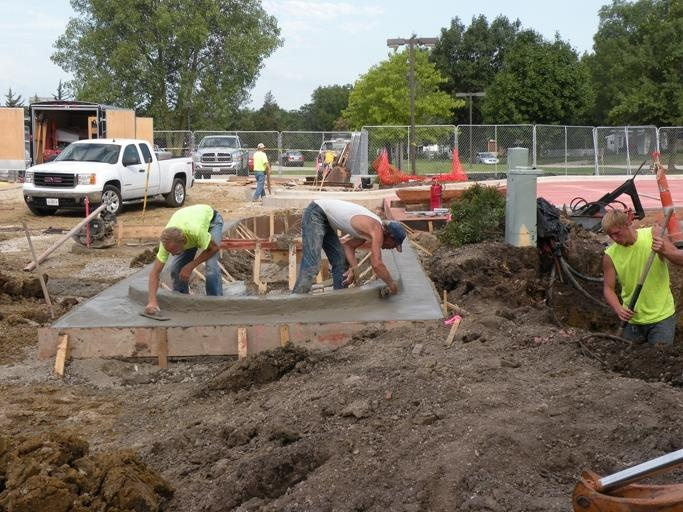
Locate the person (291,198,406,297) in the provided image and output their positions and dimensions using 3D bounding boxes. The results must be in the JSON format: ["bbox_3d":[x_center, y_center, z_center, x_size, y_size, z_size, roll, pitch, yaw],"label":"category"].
[{"bbox_3d":[0.064,-0.105,7.781,0.949,1.148,1.284,-7,10,-44],"label":"person"}]

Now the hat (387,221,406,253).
[{"bbox_3d":[0.673,-0.249,7.799,0.206,0.376,0.723,0,7,7],"label":"hat"}]

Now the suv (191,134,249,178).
[{"bbox_3d":[-5.615,-4.634,29.814,2.472,2.018,1.521,-2,7,-13],"label":"suv"}]

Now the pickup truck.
[{"bbox_3d":[-5.954,-2.032,17.221,2.227,1.759,4.762,2,5,22],"label":"pickup truck"}]

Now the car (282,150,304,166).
[{"bbox_3d":[-2.912,-5.798,38.168,0.930,0.808,2.119,-1,13,-6],"label":"car"}]

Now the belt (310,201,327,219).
[{"bbox_3d":[-0.294,-0.585,8.013,0.157,0.241,0.181,3,11,40],"label":"belt"}]

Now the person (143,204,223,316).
[{"bbox_3d":[-1.839,0.012,7.517,0.772,1.182,1.530,-1,7,-2],"label":"person"}]
